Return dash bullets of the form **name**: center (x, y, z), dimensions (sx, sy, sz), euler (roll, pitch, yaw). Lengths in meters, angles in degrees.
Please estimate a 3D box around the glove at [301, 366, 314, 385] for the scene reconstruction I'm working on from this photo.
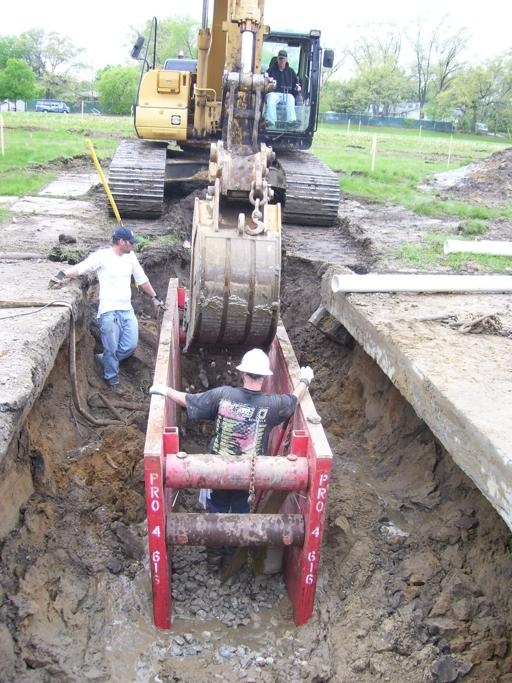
- **glove**: center (0.355, 0.252, 4.159), dimensions (0.111, 0.050, 0.148), euler (-1, 42, -2)

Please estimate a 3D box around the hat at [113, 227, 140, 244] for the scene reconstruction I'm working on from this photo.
- **hat**: center (-1.216, -0.978, 5.607), dimensions (0.237, 0.143, 0.160), euler (-1, 37, -25)

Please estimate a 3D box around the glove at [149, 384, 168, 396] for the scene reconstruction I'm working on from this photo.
- **glove**: center (-0.614, 0.305, 3.755), dimensions (0.083, 0.029, 0.108), euler (3, 18, -16)

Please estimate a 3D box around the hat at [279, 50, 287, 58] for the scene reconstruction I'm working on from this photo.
- **hat**: center (0.400, -4.266, 8.790), dimensions (0.144, 0.105, 0.200), euler (0, 32, -4)

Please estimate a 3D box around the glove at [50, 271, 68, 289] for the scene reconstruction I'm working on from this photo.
- **glove**: center (-1.871, -0.567, 5.485), dimensions (0.228, 0.098, 0.137), euler (-9, 25, -18)

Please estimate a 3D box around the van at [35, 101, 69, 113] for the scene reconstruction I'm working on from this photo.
- **van**: center (-16.658, -19.102, 48.243), dimensions (2.392, 0.960, 2.556), euler (-8, 19, -30)

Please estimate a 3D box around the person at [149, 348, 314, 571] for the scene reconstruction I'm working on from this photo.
- **person**: center (-0.171, 0.715, 3.880), dimensions (1.128, 1.307, 0.413), euler (5, 15, -9)

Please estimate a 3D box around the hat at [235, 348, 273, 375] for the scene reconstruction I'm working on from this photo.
- **hat**: center (-0.007, 0.132, 3.664), dimensions (0.166, 0.106, 0.186), euler (10, 10, -8)

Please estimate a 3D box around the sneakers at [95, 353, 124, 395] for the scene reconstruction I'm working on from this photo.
- **sneakers**: center (-1.490, 0.323, 5.947), dimensions (0.116, 0.380, 0.166), euler (-31, -6, -29)
